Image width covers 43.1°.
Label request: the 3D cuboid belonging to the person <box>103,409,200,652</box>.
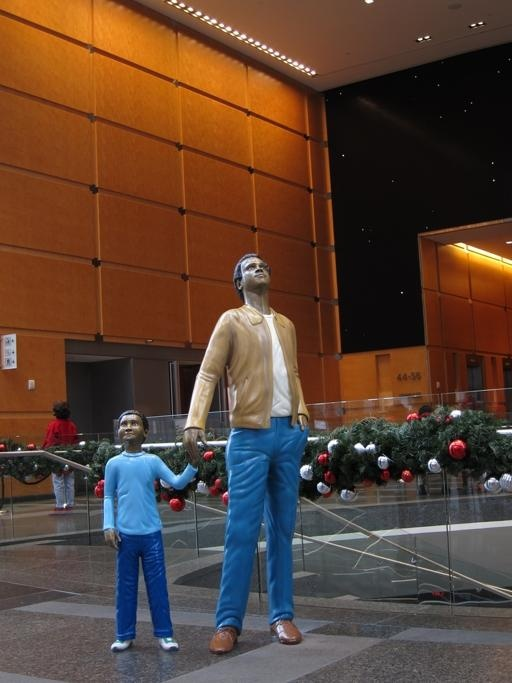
[{"bbox_3d":[-0.439,0.707,2.497,0.298,0.878,0.411,-1,-6,-8],"label":"person"}]

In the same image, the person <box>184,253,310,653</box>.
[{"bbox_3d":[-0.006,0.464,2.441,0.349,1.278,0.637,-7,-8,40],"label":"person"}]
